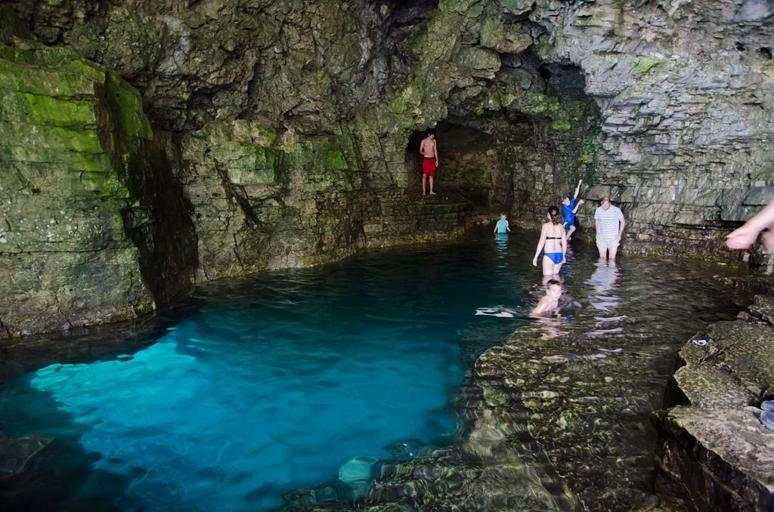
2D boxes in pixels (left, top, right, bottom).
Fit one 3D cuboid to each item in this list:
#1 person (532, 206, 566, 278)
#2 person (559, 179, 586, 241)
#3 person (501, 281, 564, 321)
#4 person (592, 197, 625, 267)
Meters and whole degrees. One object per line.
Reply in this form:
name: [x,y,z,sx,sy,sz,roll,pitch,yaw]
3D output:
person: [4.100,-0.315,12.555,0.616,1.900,1.040,4,17,24]
person: [6.590,-1.615,17.603,1.007,0.851,2.748,5,-18,22]
person: [3.204,0.931,10.723,1.488,0.539,1.015,-5,22,20]
person: [6.512,-0.832,14.640,0.736,1.903,0.795,3,17,22]
